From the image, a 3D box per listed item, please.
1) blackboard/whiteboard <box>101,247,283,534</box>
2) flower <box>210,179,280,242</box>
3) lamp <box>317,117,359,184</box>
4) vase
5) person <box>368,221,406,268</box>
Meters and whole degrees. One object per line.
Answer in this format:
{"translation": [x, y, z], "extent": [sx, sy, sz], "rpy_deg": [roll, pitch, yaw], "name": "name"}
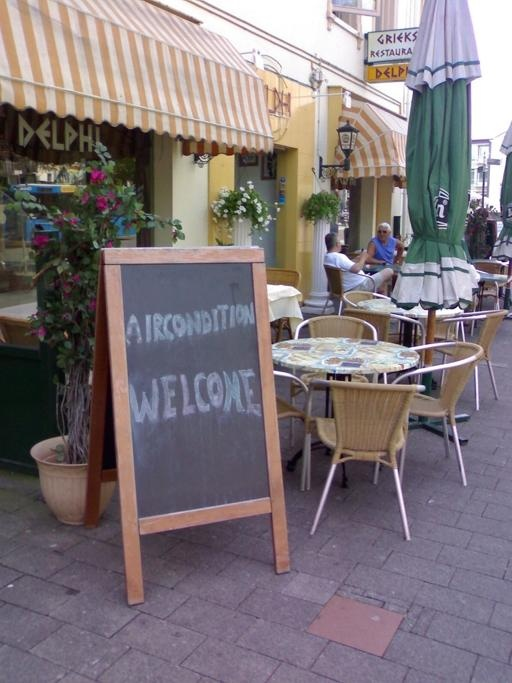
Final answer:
{"translation": [-0.249, 0.183, 2.375], "extent": [0.599, 1.036, 0.235], "rpy_deg": [-3, 7, -27], "name": "blackboard/whiteboard"}
{"translation": [-0.228, -1.784, 7.760], "extent": [0.794, 0.825, 0.448], "rpy_deg": [0, 6, -9], "name": "flower"}
{"translation": [1.479, -3.664, 10.270], "extent": [0.629, 1.123, 1.215], "rpy_deg": [1, 6, 5], "name": "lamp"}
{"translation": [-1.000, 0.745, 3.019], "extent": [0.441, 0.342, 0.438], "rpy_deg": [14, 16, 35], "name": "vase"}
{"translation": [2.327, -1.659, 9.995], "extent": [0.643, 0.867, 0.491], "rpy_deg": [-3, 6, -9], "name": "person"}
